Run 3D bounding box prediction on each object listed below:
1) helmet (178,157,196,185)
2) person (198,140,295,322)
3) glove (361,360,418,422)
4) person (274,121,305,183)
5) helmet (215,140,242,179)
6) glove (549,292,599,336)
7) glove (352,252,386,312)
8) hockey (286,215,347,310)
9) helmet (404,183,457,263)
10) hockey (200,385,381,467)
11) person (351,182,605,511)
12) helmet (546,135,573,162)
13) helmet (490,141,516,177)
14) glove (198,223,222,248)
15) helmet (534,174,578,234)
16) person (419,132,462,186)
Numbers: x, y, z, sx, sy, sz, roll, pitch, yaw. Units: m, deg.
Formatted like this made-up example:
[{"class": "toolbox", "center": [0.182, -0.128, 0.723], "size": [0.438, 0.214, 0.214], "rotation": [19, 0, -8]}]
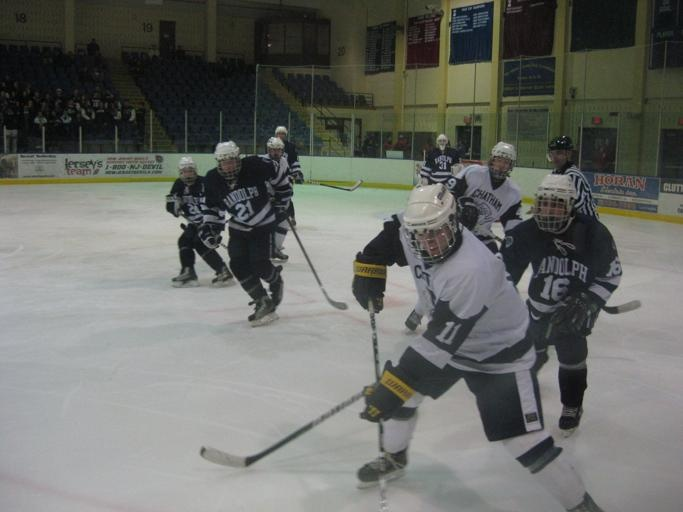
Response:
[{"class": "helmet", "center": [-1.732, -0.971, 6.928], "size": [0.183, 0.285, 0.291], "rotation": [-5, 13, -13]}, {"class": "person", "center": [-0.946, -0.273, 6.062], "size": [0.923, 1.707, 1.137], "rotation": [-3, 13, -7]}, {"class": "glove", "center": [0.279, 0.675, 3.141], "size": [0.345, 0.119, 0.382], "rotation": [-24, -6, -28]}, {"class": "person", "center": [-0.942, -1.606, 10.433], "size": [0.363, 1.142, 0.345], "rotation": [-9, 1, 19]}, {"class": "helmet", "center": [-1.031, -0.924, 5.699], "size": [0.240, 0.333, 0.326], "rotation": [-6, 35, -3]}, {"class": "glove", "center": [1.424, 0.348, 3.744], "size": [0.257, 0.264, 0.101], "rotation": [-16, 38, -19]}, {"class": "glove", "center": [0.172, 0.142, 3.597], "size": [0.221, 0.312, 0.132], "rotation": [11, 10, 16]}, {"class": "hockey", "center": [-0.306, 0.055, 6.524], "size": [0.189, 0.142, 1.324], "rotation": [-28, 58, -13]}, {"class": "helmet", "center": [0.463, -0.189, 3.140], "size": [0.263, 0.344, 0.351], "rotation": [2, 29, 36]}, {"class": "hockey", "center": [-0.264, 0.964, 3.547], "size": [1.182, 0.195, 0.122], "rotation": [-18, -8, -43]}, {"class": "person", "center": [0.852, 0.594, 3.640], "size": [1.169, 1.710, 0.936], "rotation": [-16, 41, -3]}, {"class": "helmet", "center": [2.079, -1.019, 5.870], "size": [0.206, 0.266, 0.272], "rotation": [1, 13, 42]}, {"class": "helmet", "center": [1.518, -0.918, 5.780], "size": [0.232, 0.312, 0.310], "rotation": [16, 24, 9]}, {"class": "glove", "center": [-1.386, -0.168, 6.529], "size": [0.130, 0.383, 0.168], "rotation": [-16, 51, -18]}, {"class": "helmet", "center": [1.390, -0.355, 3.962], "size": [0.259, 0.357, 0.371], "rotation": [10, 15, 40]}, {"class": "person", "center": [1.215, -0.982, 7.490], "size": [0.447, 0.988, 0.295], "rotation": [2, -19, 7]}]
